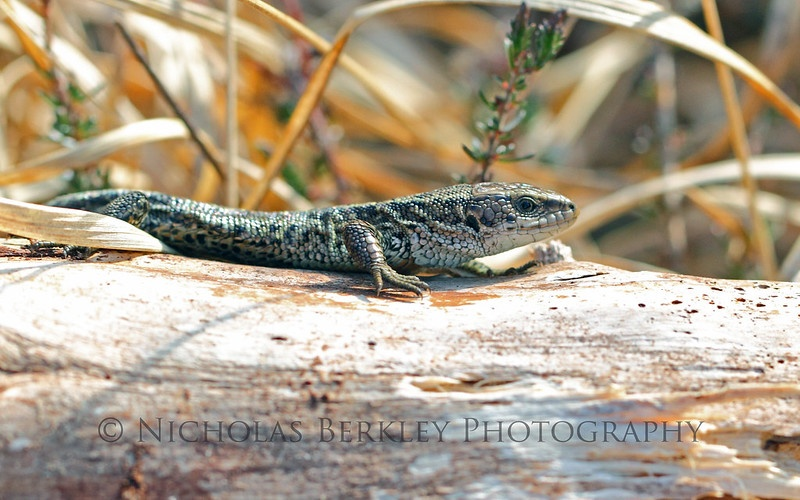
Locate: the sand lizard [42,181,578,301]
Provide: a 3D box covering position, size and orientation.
[{"bbox_3d":[-0.496,-0.191,7.677,3.809,0.527,1.599,2,7,3],"label":"sand lizard"}]
